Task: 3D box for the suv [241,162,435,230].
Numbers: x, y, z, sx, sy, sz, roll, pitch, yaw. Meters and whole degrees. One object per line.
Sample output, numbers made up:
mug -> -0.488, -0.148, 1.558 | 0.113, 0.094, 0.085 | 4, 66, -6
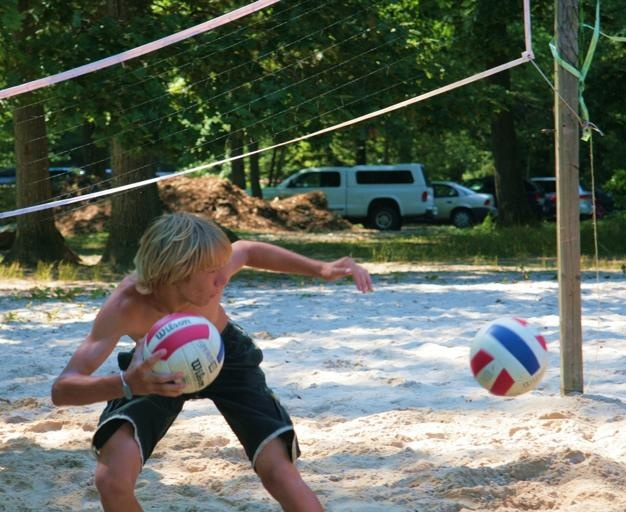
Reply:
suv -> 0.965, -1.347, 24.813 | 3.262, 0.943, 1.365 | 2, 3, 16
